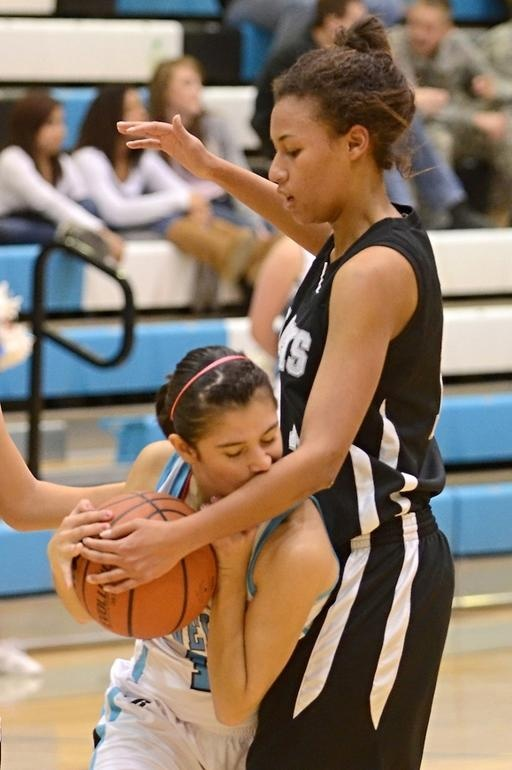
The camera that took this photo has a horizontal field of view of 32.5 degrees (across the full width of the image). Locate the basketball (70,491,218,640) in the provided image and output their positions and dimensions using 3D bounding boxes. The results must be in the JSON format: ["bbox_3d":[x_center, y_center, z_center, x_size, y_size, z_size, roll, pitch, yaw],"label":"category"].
[{"bbox_3d":[-0.148,0.262,1.168,0.187,0.226,0.169,-2,6,-12],"label":"basketball"}]
